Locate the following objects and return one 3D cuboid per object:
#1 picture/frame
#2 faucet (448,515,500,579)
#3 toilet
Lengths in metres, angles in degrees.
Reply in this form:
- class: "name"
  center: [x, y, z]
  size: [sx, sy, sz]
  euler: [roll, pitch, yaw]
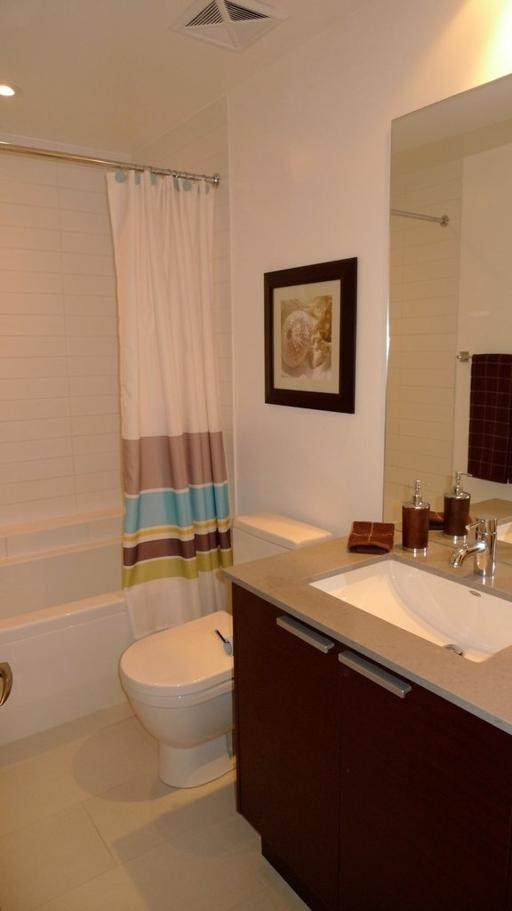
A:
- class: "picture/frame"
  center: [0.191, -0.413, 1.968]
  size: [0.033, 0.539, 0.466]
  euler: [-7, 14, -30]
- class: "faucet"
  center: [0.488, 0.199, 1.310]
  size: [0.080, 0.131, 0.173]
  euler: [3, 7, 34]
- class: "toilet"
  center: [-0.140, 0.667, 1.981]
  size: [0.648, 0.808, 0.353]
  euler: [-10, 20, -35]
